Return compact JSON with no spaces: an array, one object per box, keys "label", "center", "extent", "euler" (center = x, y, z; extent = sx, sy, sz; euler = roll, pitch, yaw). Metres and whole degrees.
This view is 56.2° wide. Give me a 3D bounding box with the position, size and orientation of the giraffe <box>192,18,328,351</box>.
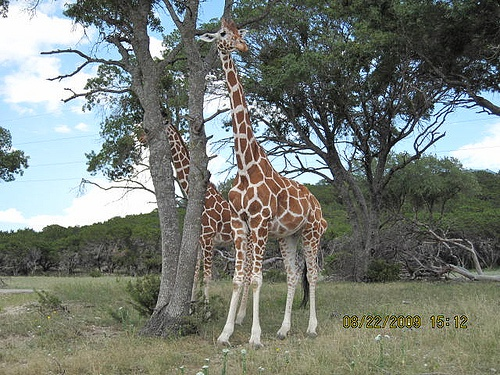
[{"label":"giraffe","center":[0.308,-0.394,12.903],"extent":[1.773,9.023,4.113],"euler":[-10,-18,39]}]
